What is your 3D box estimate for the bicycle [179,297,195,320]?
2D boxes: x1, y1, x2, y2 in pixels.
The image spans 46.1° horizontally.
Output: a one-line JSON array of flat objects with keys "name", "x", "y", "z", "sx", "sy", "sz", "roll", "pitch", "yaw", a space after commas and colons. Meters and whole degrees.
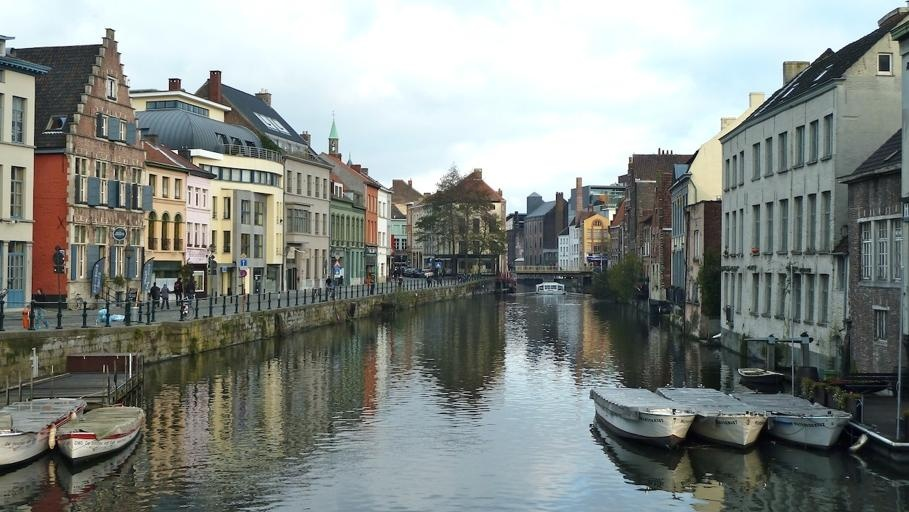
[{"name": "bicycle", "x": -16.418, "y": 3.250, "z": 65.142, "sx": 0.979, "sy": 1.084, "sz": 1.872, "roll": 0, "pitch": -5, "yaw": 2}]

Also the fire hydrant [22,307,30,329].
[{"name": "fire hydrant", "x": -22.058, "y": 3.235, "z": 55.135, "sx": 0.395, "sy": 1.055, "sz": 0.598, "roll": -3, "pitch": 11, "yaw": -21}]

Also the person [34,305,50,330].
[{"name": "person", "x": -22.529, "y": 3.416, "z": 58.329, "sx": 0.865, "sy": 1.402, "sz": 1.075, "roll": -3, "pitch": 1, "yaw": 8}]

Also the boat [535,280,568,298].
[{"name": "boat", "x": 13.478, "y": 4.668, "z": 150.687, "sx": 3.457, "sy": 1.656, "sz": 6.468, "roll": 1, "pitch": 10, "yaw": -1}]
